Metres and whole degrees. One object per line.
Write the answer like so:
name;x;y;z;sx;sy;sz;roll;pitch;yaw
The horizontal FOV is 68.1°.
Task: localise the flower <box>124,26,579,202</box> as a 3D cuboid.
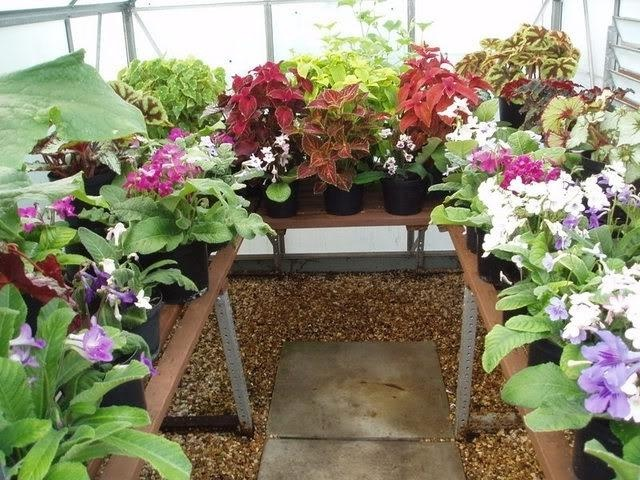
flower;0.253;-0.729;2.669;1.450;0.573;1.277;3;48;12
